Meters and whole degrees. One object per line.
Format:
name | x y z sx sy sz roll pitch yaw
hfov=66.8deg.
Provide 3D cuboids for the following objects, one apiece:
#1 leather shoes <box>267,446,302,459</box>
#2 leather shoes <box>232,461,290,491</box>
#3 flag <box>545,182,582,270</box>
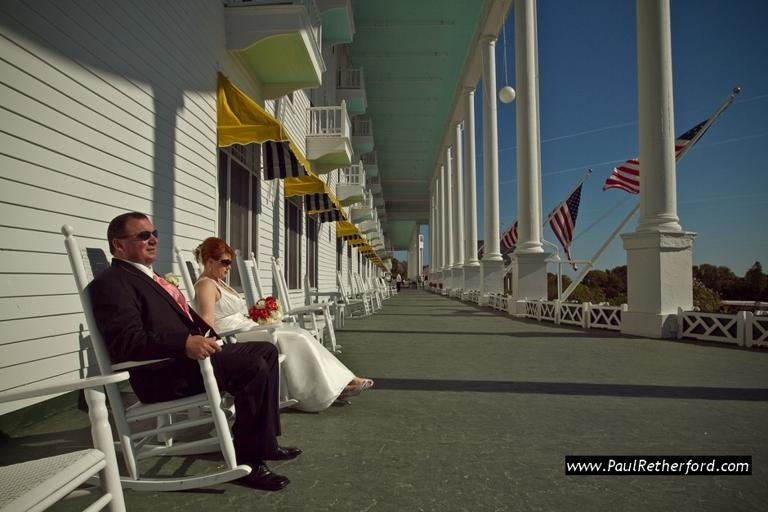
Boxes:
leather shoes | -0.866 1.706 5.098 0.298 0.129 0.101 -3 14 -8
leather shoes | -1.034 1.814 4.851 0.498 0.211 0.174 1 -4 9
flag | 6.159 -1.114 19.652 1.087 3.151 3.505 -3 -3 18
